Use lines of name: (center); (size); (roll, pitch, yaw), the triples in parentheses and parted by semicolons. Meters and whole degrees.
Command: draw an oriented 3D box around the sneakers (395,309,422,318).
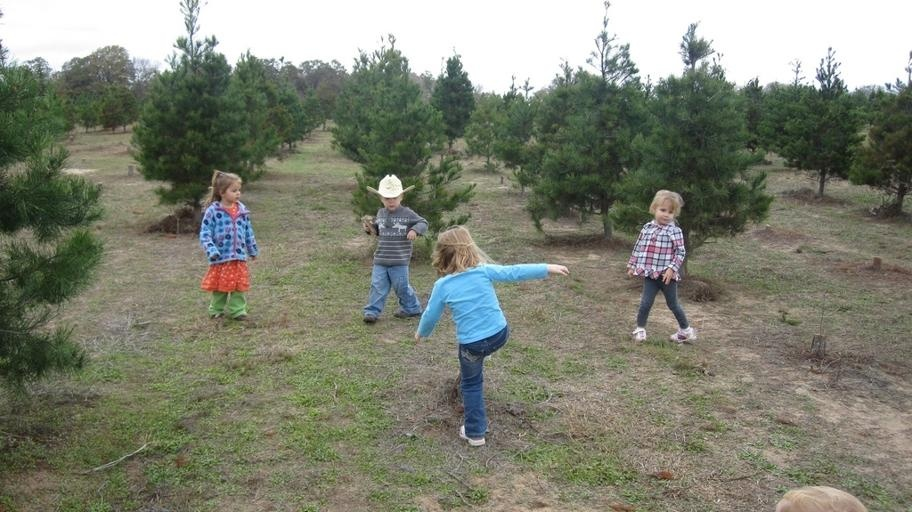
sneakers: (-0.863, 1.096, 13.367); (0.523, 0.225, 0.172); (-4, 4, 2)

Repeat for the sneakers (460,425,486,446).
sneakers: (0.235, 2.684, 10.523); (0.199, 0.208, 0.456); (-1, 12, -28)

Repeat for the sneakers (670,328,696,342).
sneakers: (4.109, 1.430, 12.676); (0.510, 0.232, 0.200); (-2, 9, 8)

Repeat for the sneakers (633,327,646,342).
sneakers: (3.330, 1.441, 12.756); (0.166, 0.295, 0.137); (9, 19, -6)

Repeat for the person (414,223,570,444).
person: (0.255, 1.169, 10.572); (1.387, 3.160, 1.004); (-9, 15, -37)

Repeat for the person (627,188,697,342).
person: (3.708, 0.187, 12.674); (1.147, 2.656, 0.764); (4, 13, 15)

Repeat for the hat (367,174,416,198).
hat: (-1.214, -1.288, 13.269); (0.414, 0.387, 0.375); (2, 12, 7)
